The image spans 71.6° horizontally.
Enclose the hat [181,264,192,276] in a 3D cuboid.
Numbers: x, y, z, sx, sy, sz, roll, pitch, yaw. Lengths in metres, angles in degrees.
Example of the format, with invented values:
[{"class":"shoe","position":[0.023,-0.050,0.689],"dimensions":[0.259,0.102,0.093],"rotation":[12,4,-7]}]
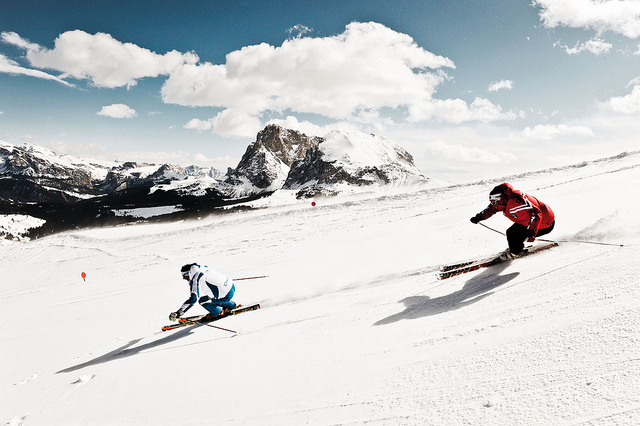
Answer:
[{"class":"hat","position":[-5.796,2.456,19.237],"dimensions":[0.375,0.503,0.200],"rotation":[12,-3,18]}]

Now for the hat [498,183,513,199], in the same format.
[{"class":"hat","position":[7.721,-0.970,18.373],"dimensions":[0.484,0.577,0.455],"rotation":[-8,10,20]}]
